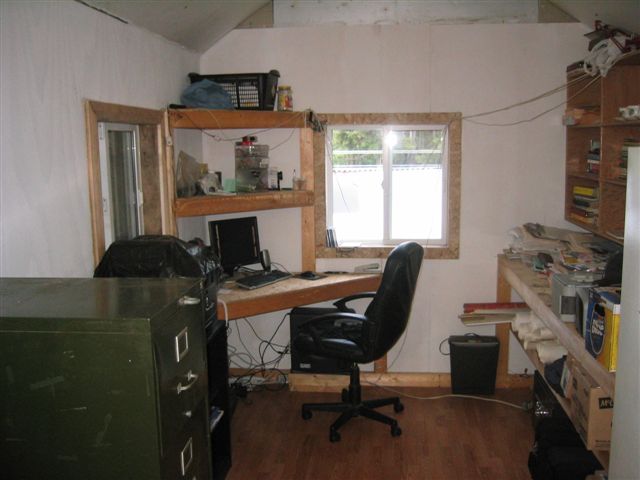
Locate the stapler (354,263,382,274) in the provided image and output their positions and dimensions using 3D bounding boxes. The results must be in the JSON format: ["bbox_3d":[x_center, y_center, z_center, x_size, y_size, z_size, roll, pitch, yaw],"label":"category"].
[{"bbox_3d":[0.395,0.239,4.523,0.271,0.112,0.079,0,10,0],"label":"stapler"}]

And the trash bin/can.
[{"bbox_3d":[1.198,0.975,4.252,0.429,0.525,0.281,0,3,4],"label":"trash bin/can"}]

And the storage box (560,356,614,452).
[{"bbox_3d":[1.339,0.806,2.755,0.114,0.320,0.508,2,14,10],"label":"storage box"}]

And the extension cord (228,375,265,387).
[{"bbox_3d":[-0.596,1.170,4.524,0.158,0.049,0.114,2,1,-16],"label":"extension cord"}]

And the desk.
[{"bbox_3d":[1.339,0.727,3.107,0.328,0.615,1.258,-1,10,2],"label":"desk"}]

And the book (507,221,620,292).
[{"bbox_3d":[1.634,0.103,3.643,0.387,0.160,0.531,6,11,5],"label":"book"}]

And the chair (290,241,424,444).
[{"bbox_3d":[0.237,0.682,3.832,0.825,1.240,0.766,0,4,17],"label":"chair"}]

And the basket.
[{"bbox_3d":[-0.599,-1.126,4.109,0.518,0.247,0.343,0,14,2],"label":"basket"}]
